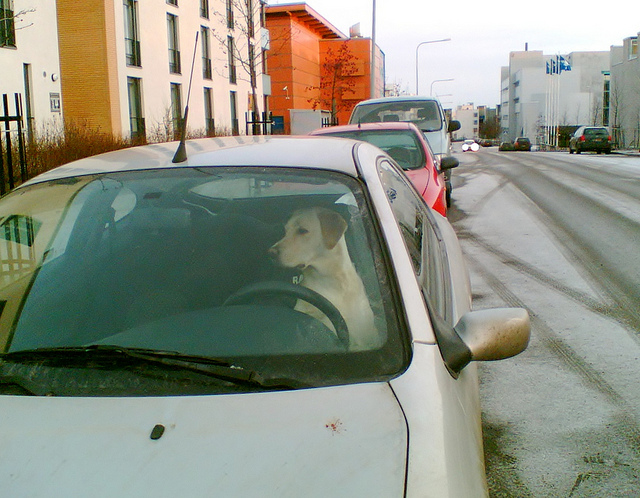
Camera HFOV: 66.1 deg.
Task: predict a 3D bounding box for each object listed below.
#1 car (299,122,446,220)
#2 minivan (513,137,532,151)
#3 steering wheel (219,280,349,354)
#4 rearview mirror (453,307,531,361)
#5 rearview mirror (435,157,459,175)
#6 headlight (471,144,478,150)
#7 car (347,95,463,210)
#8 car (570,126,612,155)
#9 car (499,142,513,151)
[{"bbox_3d":[1.047,-0.958,6.846,1.159,1.138,2.203,-2,23,7],"label":"car"},{"bbox_3d":[28.268,-14.350,69.042,1.587,1.663,3.106,0,26,11],"label":"minivan"},{"bbox_3d":[-0.098,0.213,1.813,0.536,0.143,0.188,6,13,30],"label":"steering wheel"},{"bbox_3d":[0.616,0.304,1.771,0.293,0.134,0.150,-7,12,-24],"label":"rearview mirror"},{"bbox_3d":[1.994,-1.305,7.595,0.268,0.183,0.380,1,12,14],"label":"rearview mirror"},{"bbox_3d":[4.116,-2.694,13.054,0.158,0.042,0.168,3,33,44],"label":"headlight"},{"bbox_3d":[2.395,-2.548,13.461,2.532,2.357,4.056,0,10,13],"label":"car"},{"bbox_3d":[21.899,-8.738,39.733,2.032,2.107,3.624,-3,12,-9],"label":"car"},{"bbox_3d":[25.868,-14.267,68.453,1.063,1.055,1.967,0,5,18],"label":"car"}]
